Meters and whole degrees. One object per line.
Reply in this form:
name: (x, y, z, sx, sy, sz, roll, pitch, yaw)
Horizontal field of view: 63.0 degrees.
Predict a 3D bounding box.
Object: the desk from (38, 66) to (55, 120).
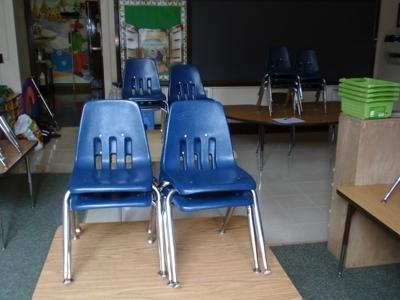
desk: (-4.269, -1.911, 9.137, 0.416, 0.884, 3.290, -11, 23, -22)
